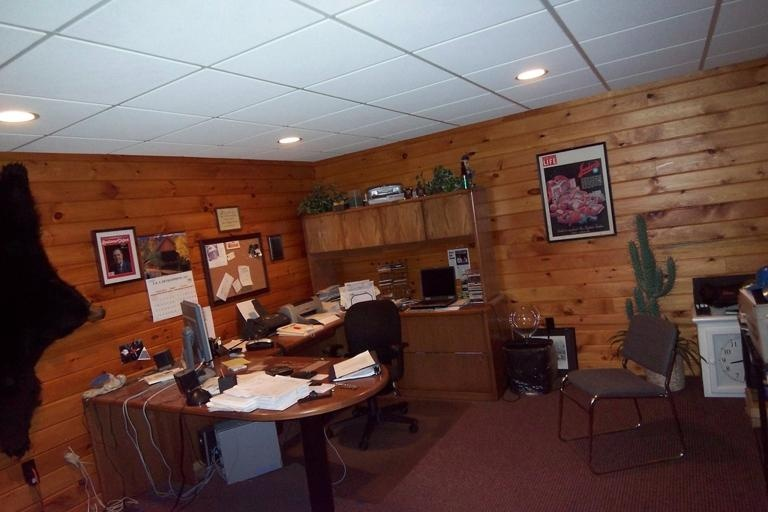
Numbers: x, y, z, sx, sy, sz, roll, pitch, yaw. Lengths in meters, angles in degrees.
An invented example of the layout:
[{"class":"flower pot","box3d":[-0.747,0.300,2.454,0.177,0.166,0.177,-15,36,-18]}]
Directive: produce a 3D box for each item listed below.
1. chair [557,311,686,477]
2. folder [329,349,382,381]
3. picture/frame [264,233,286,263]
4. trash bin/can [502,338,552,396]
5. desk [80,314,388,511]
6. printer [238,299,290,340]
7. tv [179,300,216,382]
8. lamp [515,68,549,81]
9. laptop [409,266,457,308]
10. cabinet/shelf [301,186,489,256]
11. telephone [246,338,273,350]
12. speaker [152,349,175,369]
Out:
[{"class":"chair","box3d":[1.980,1.067,4.226,0.999,1.071,1.151,-8,10,18]},{"class":"folder","box3d":[-0.231,0.846,3.827,0.382,0.104,0.329,-9,9,-5]},{"class":"picture/frame","box3d":[-1.299,-0.090,5.863,0.061,0.366,0.417,-9,-4,26]},{"class":"trash bin/can","box3d":[1.481,1.186,5.345,0.652,0.479,0.583,-3,-5,15]},{"class":"desk","box3d":[-1.393,1.393,4.015,2.053,0.797,1.624,1,1,18]},{"class":"printer","box3d":[-1.333,0.669,5.244,0.538,0.314,0.366,4,7,32]},{"class":"tv","box3d":[-1.580,0.706,4.127,0.253,0.614,0.462,-18,12,-22]},{"class":"lamp","box3d":[1.239,-1.500,4.106,0.224,0.047,0.301,-4,9,26]},{"class":"laptop","box3d":[0.630,0.348,5.673,0.663,0.404,0.571,-1,2,19]},{"class":"cabinet/shelf","box3d":[0.044,-0.381,5.733,2.139,0.522,0.260,-4,14,26]},{"class":"telephone","box3d":[-1.191,0.852,4.786,0.202,0.037,0.129,0,3,10]},{"class":"speaker","box3d":[-1.995,0.932,4.462,0.209,0.153,0.095,-11,10,-12]}]
